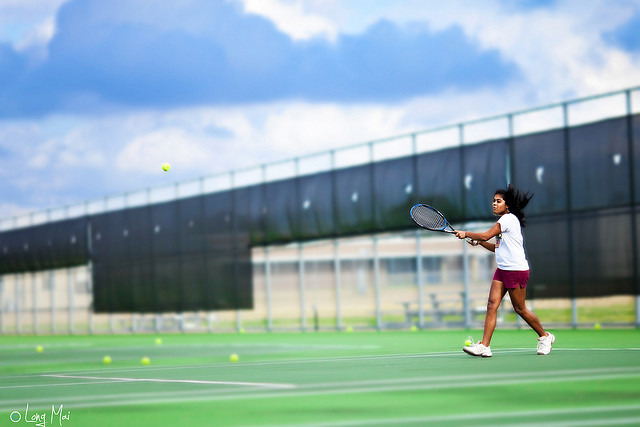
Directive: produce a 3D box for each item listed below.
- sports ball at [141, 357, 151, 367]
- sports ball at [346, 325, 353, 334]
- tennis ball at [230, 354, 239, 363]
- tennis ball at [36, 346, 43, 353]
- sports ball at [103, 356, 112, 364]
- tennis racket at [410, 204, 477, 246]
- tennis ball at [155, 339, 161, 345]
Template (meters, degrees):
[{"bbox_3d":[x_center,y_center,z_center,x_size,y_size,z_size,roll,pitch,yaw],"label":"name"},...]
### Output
[{"bbox_3d":[-3.346,2.882,16.514,0.160,0.180,0.191,16,36,4],"label":"sports ball"},{"bbox_3d":[0.792,3.153,23.223,0.157,0.190,0.158,6,-26,3],"label":"sports ball"},{"bbox_3d":[-1.592,2.726,16.085,0.116,0.118,0.115,1,3,0],"label":"tennis ball"},{"bbox_3d":[-6.741,3.275,20.649,0.203,0.145,0.192,0,-1,0],"label":"tennis ball"},{"bbox_3d":[-4.157,2.879,16.898,0.147,0.151,0.150,2,-20,1],"label":"sports ball"},{"bbox_3d":[2.398,0.249,15.545,1.659,0.479,0.156,22,-37,-18],"label":"tennis racket"},{"bbox_3d":[-4.090,3.258,21.700,0.176,0.122,0.216,0,-4,1],"label":"tennis ball"}]
